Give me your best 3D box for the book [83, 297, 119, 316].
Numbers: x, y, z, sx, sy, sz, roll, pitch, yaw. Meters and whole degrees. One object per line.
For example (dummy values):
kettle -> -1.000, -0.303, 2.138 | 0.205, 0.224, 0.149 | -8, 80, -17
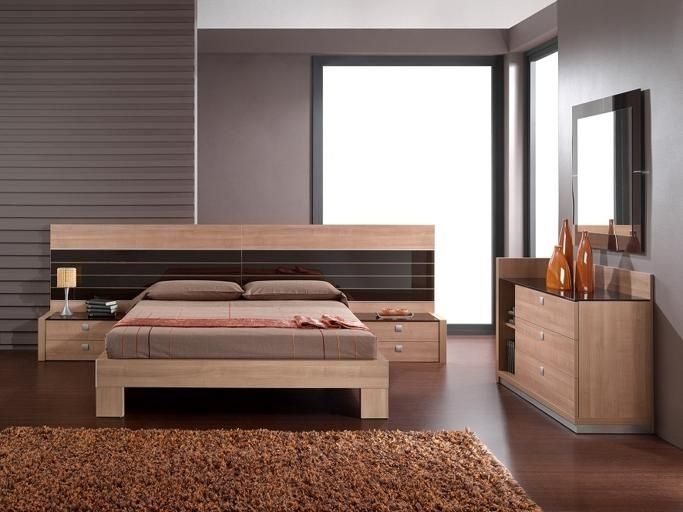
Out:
book -> -2.261, 0.483, 5.175 | 0.203, 0.083, 0.189 | 2, 2, 0

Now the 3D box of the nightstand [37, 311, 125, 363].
nightstand -> -2.512, 0.762, 5.078 | 0.778, 0.349, 0.392 | 0, 1, -3

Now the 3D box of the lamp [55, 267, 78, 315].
lamp -> -2.657, 0.332, 5.279 | 0.187, 0.435, 0.330 | -3, 8, -26

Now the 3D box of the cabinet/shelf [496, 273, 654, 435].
cabinet/shelf -> 1.580, 0.712, 4.156 | 0.802, 1.168, 2.139 | 1, 2, 2
